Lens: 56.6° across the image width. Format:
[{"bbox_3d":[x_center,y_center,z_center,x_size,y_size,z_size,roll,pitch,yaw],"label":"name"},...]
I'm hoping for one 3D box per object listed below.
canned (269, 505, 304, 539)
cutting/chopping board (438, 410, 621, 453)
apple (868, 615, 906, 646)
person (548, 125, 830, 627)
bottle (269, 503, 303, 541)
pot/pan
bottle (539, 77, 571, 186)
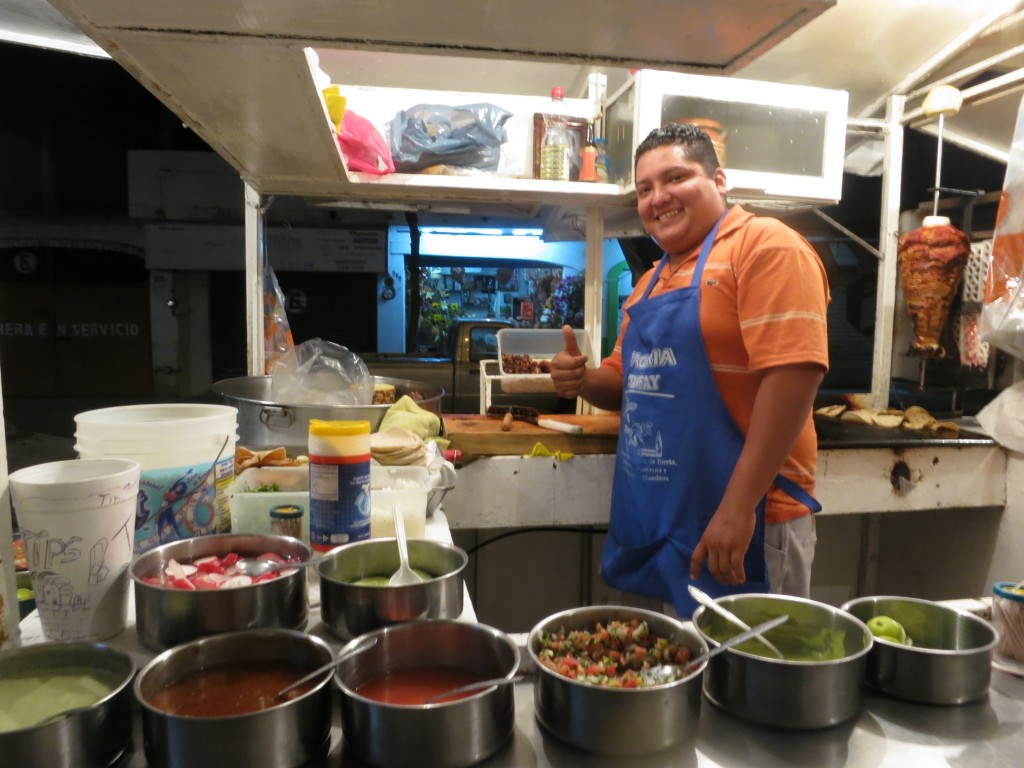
[{"bbox_3d":[-0.589,0.360,2.478,0.077,0.090,0.081,1,0,-4],"label":"canned"},{"bbox_3d":[0.091,0.201,3.672,0.472,0.070,0.269,1,8,-3],"label":"cutting/chopping board"},{"bbox_3d":[0.860,0.565,2.180,0.063,0.083,0.062,-14,9,-24],"label":"apple"},{"bbox_3d":[0.610,-0.047,3.151,0.432,1.605,0.906,-5,6,-41],"label":"person"},{"bbox_3d":[-0.592,0.362,2.477,0.078,0.091,0.082,1,0,-4],"label":"bottle"},{"bbox_3d":[0.735,0.640,2.116,0.708,0.287,0.273,-1,5,-6],"label":"pot/pan"},{"bbox_3d":[0.187,-1.028,3.976,0.140,0.348,0.142,3,8,0],"label":"bottle"}]
